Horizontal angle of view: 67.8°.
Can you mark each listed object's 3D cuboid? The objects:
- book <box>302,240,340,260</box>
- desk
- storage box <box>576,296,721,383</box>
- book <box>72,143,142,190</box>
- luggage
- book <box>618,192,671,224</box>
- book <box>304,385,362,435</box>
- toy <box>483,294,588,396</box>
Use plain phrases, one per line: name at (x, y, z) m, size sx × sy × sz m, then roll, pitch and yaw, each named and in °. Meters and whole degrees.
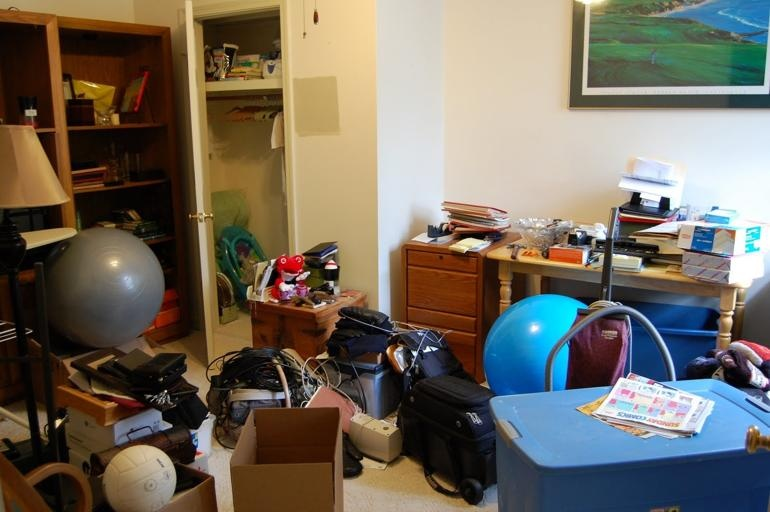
book at (-0.480, -0.046, 4.238) m, size 0.179 × 0.091 × 0.230 m, roll 8°, pitch 15°, yaw 27°
desk at (1.517, 0.481, 4.054) m, size 1.596 × 1.069 × 0.883 m, roll 7°, pitch 12°, yaw 16°
storage box at (1.753, 0.528, 3.926) m, size 0.911 × 0.374 × 0.605 m, roll 0°, pitch 2°, yaw 20°
book at (-2.244, -0.739, 4.663) m, size 0.493 × 0.321 × 0.557 m, roll -5°, pitch 14°, yaw -22°
luggage at (0.367, 1.050, 3.344) m, size 0.594 × 0.552 × 0.299 m, roll 13°, pitch 18°, yaw 43°
book at (1.765, -0.314, 3.867) m, size 0.221 × 0.094 × 0.290 m, roll 11°, pitch 26°, yaw 27°
book at (-0.297, 0.955, 3.652) m, size 0.331 × 0.077 × 0.327 m, roll 36°, pitch 47°, yaw -7°
toy at (0.942, 0.547, 3.638) m, size 0.606 × 0.686 × 0.597 m, roll 17°, pitch -17°, yaw -26°
